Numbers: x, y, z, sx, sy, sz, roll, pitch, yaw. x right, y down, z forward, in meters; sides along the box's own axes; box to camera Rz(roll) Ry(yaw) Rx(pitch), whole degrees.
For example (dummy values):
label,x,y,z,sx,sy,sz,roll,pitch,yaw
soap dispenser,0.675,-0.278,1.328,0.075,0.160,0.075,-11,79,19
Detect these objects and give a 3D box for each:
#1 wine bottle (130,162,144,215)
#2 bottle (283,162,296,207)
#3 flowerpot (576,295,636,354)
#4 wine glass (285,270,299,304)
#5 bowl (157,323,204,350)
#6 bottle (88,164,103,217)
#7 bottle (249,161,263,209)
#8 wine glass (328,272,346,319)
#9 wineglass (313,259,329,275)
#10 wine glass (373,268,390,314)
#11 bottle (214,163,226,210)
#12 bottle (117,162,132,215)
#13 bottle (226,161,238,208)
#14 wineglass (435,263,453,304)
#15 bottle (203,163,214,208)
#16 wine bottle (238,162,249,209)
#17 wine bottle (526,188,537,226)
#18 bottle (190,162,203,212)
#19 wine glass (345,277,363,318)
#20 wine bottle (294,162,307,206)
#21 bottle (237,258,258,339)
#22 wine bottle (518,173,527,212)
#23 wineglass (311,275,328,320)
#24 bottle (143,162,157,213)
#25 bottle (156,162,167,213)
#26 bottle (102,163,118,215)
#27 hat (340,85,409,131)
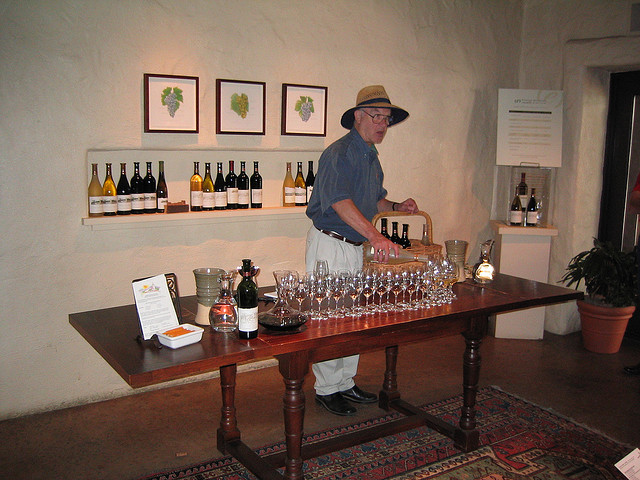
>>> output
label,x,y,z,sx,sy,sz,roll,pitch,yaw
wine bottle,-1.387,-0.396,3.649,0.112,0.382,0.184,-6,11,-21
bottle,-0.268,-0.498,4.270,0.147,0.382,0.124,-8,11,-30
flowerpot,2.716,0.818,4.802,0.539,0.498,0.558,2,9,1
wine glass,-0.148,0.232,2.555,0.075,0.137,0.055,-3,10,-5
bowl,-0.644,0.437,2.212,0.143,0.050,0.103,-8,13,-43
bottle,-1.638,-0.362,3.507,0.108,0.378,0.095,-7,11,-27
bottle,-0.546,-0.476,4.116,0.118,0.385,0.208,-3,10,-7
wine glass,0.090,0.293,2.638,0.095,0.221,0.196,-2,10,1
wineglass,0.007,0.145,2.679,0.070,0.066,0.119,-2,10,1
wine glass,0.353,0.271,2.760,0.092,0.226,0.278,0,10,7
bottle,-0.821,-0.445,3.938,0.100,0.367,0.196,-4,10,-11
bottle,-1.475,-0.386,3.616,0.107,0.374,0.144,-6,11,-23
bottle,-0.719,-0.455,3.942,0.096,0.380,0.125,-3,10,-10
wineglass,0.754,0.252,2.897,0.086,0.223,0.195,2,10,19
bottle,-0.913,-0.451,3.930,0.089,0.354,0.237,-4,10,-11
wine bottle,-0.639,-0.456,4.002,0.087,0.378,0.119,-2,10,0
wine bottle,2.177,-0.343,4.945,0.093,0.377,0.120,3,11,27
bottle,-0.994,-0.428,3.857,0.117,0.386,0.175,-4,10,-15
wine glass,0.192,0.293,2.702,0.097,0.196,0.287,-1,10,5
wine bottle,-0.178,-0.504,4.304,0.101,0.379,0.163,-2,10,-1
bottle,-0.350,0.276,2.297,0.096,0.368,0.148,-4,10,-11
wine bottle,2.089,-0.490,4.944,0.105,0.399,0.059,-5,10,-17
wineglass,-0.001,0.294,2.648,0.091,0.214,0.250,-2,10,1
bottle,-1.308,-0.406,3.698,0.097,0.380,0.172,-5,10,-19
bottle,-1.237,-0.414,3.760,0.080,0.383,0.139,-5,10,-18
bottle,-1.565,-0.378,3.575,0.106,0.376,0.164,-5,10,-19
hat,0.394,-0.985,3.507,0.491,0.269,0.591,-1,10,7
